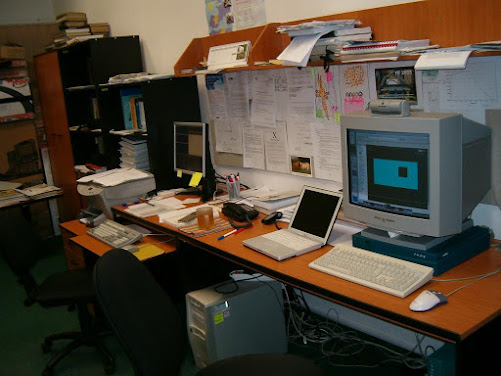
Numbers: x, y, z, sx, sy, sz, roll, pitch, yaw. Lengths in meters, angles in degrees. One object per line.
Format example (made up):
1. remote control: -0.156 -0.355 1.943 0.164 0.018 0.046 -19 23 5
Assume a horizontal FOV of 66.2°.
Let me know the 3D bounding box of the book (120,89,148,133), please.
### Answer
1. book: -1.106 -0.730 3.619 0.208 0.389 0.408 -9 19 -16

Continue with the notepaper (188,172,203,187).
1. notepaper: -0.451 -0.071 3.199 0.107 0.111 0.013 23 -9 32

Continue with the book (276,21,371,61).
1. book: 0.379 -0.796 2.058 0.325 0.140 0.358 13 22 42

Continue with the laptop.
1. laptop: 0.232 0.166 2.095 0.488 0.284 0.351 -6 12 -35

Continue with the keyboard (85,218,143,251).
1. keyboard: -1.015 0.342 2.846 0.453 0.074 0.216 16 28 41

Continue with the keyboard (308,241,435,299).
1. keyboard: 0.547 0.357 1.689 0.169 0.066 0.339 -30 25 -34

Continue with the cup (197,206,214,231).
1. cup: -0.284 0.192 2.425 0.092 0.113 0.142 -1 14 -4

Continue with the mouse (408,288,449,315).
1. mouse: 0.674 0.427 1.462 0.154 0.048 0.071 -12 20 -27

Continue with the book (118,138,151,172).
1. book: -1.075 -0.313 3.582 0.353 0.114 0.264 18 25 41

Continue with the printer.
1. printer: -1.156 0.056 3.333 0.534 0.331 0.423 -9 15 -40

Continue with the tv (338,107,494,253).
1. tv: 0.898 -0.113 2.017 0.670 0.552 0.656 -14 14 -36

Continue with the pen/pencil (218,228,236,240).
1. pen/pencil: -0.141 0.281 2.334 0.018 0.018 0.167 -7 8 34

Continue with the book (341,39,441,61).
1. book: 0.660 -0.666 1.872 0.451 0.091 0.223 4 19 21
